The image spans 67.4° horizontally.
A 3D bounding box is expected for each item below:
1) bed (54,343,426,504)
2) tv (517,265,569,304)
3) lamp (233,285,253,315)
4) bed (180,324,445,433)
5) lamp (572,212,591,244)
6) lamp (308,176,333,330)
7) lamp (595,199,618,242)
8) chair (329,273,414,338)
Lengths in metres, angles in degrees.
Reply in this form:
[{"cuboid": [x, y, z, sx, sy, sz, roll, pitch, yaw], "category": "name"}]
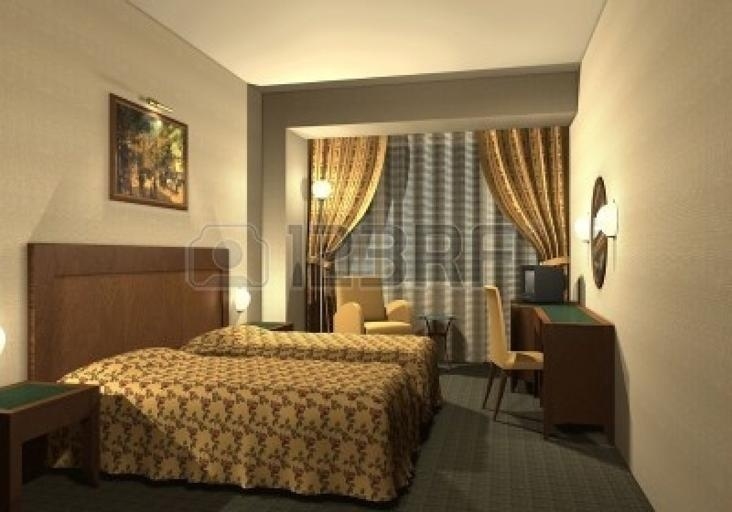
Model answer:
[{"cuboid": [-0.762, 1.178, 4.082, 1.800, 0.627, 1.197, 0, 0, 9], "category": "bed"}, {"cuboid": [1.995, 0.316, 6.184, 0.394, 0.488, 0.444, 0, -2, 5], "category": "tv"}, {"cuboid": [-1.356, 0.507, 6.042, 0.134, 0.302, 0.215, 2, 7, 14], "category": "lamp"}, {"cuboid": [-0.377, 0.914, 5.028, 1.665, 0.580, 1.090, 0, -1, 10], "category": "bed"}, {"cuboid": [2.232, -0.256, 5.562, 0.054, 0.251, 0.214, 5, 3, -33], "category": "lamp"}, {"cuboid": [-0.569, -0.022, 7.434, 0.277, 2.048, 0.402, -1, 7, -11], "category": "lamp"}, {"cuboid": [1.991, -0.295, 4.545, 0.118, 0.328, 0.382, 2, 7, 14], "category": "lamp"}, {"cuboid": [0.156, 0.648, 6.842, 0.702, 1.134, 0.783, 2, -7, -29], "category": "chair"}]
